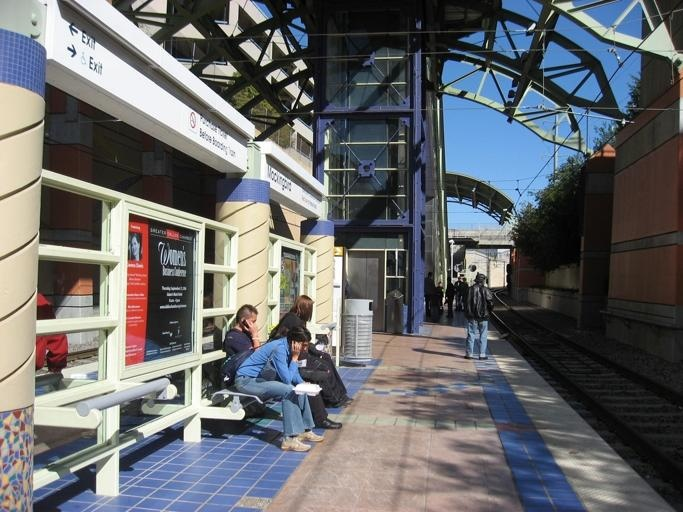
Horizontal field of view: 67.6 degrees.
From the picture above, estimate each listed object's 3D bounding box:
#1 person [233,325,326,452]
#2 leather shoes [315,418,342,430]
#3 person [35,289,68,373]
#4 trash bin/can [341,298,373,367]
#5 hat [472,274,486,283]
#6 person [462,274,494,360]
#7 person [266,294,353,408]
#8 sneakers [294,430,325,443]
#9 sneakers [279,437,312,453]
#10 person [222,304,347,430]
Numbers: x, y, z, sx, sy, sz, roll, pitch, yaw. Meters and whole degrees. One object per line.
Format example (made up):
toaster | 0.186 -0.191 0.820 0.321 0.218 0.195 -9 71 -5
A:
person | -0.596 1.510 5.911 1.308 1.343 0.692 -9 -10 43
leather shoes | -0.163 2.124 6.487 0.376 0.173 0.136 -2 -1 1
person | -2.951 0.717 5.175 0.289 0.811 1.781 2 -9 -31
trash bin/can | 0.360 1.702 11.989 0.818 1.502 0.873 1 1 -22
hat | 3.390 0.528 12.404 0.235 0.113 0.226 2 4 33
person | 3.350 1.441 12.424 0.687 2.099 0.749 -3 -7 13
person | -0.480 1.331 7.422 0.990 1.489 0.521 4 -11 -6
sneakers | -0.360 2.111 5.999 0.316 0.152 0.126 1 -2 5
sneakers | -0.510 2.083 5.669 0.327 0.260 0.147 -1 -2 4
person | -0.802 1.503 7.319 1.292 1.953 0.790 8 33 -4
